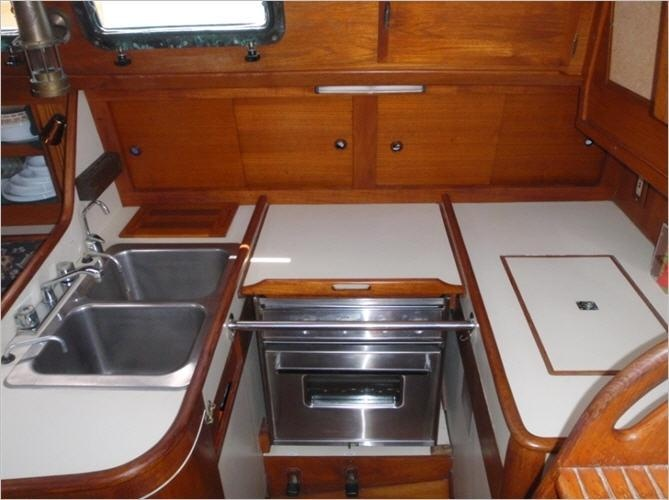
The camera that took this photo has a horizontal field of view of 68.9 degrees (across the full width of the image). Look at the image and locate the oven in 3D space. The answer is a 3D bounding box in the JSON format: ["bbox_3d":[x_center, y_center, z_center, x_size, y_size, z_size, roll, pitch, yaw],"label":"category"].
[{"bbox_3d":[0.106,0.612,2.286,0.765,0.450,0.473,-1,-81,8],"label":"oven"}]

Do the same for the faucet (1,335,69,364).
[{"bbox_3d":[-0.946,0.318,1.605,0.235,0.071,0.080,-1,-69,-7],"label":"faucet"}]

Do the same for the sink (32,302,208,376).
[{"bbox_3d":[-0.751,0.358,1.770,0.496,0.300,0.321,9,-29,-9],"label":"sink"}]

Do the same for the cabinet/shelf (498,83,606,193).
[{"bbox_3d":[0.937,-0.499,2.170,0.429,0.098,0.392,-1,-58,4],"label":"cabinet/shelf"}]
